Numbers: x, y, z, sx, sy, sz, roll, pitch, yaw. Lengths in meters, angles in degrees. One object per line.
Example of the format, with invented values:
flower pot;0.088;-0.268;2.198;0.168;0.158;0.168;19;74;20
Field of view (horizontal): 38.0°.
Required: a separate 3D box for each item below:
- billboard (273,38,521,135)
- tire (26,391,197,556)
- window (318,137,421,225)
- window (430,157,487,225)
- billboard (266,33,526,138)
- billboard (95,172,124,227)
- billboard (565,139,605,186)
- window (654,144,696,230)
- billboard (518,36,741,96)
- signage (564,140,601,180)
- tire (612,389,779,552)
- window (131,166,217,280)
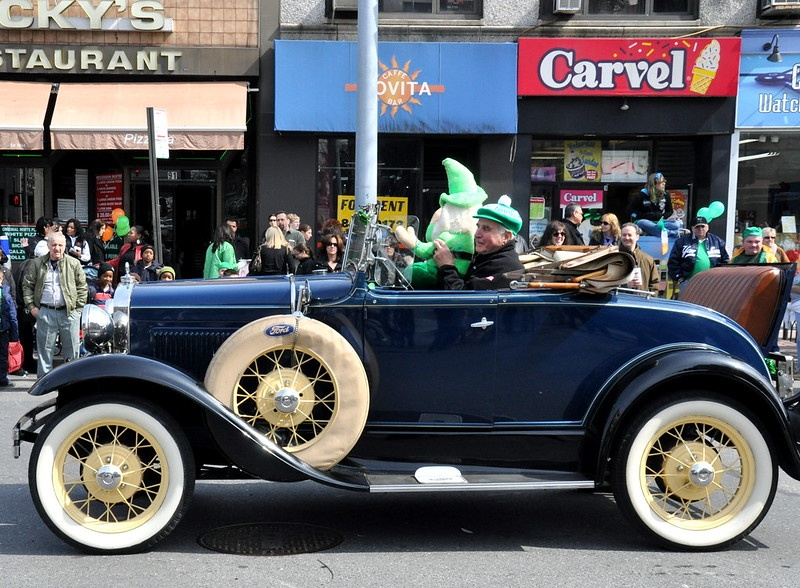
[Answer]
billboard;-0.081;-3.408;20.072;4.049;1.522;1.284;1;0;7
tire;-2.634;1.630;10.657;1.439;1.480;0.399;-1;3;-3
window;-0.530;-1.677;20.093;1.755;1.916;0.079;1;32;4
window;0.533;-1.024;11.994;0.405;0.677;0.455;-7;-17;28
billboard;-0.037;-3.447;19.390;4.867;1.429;1.772;-2;7;-6
billboard;-5.288;-1.735;20.988;0.485;0.887;0.046;-4;18;-36
billboard;3.150;-2.338;20.332;0.752;0.764;0.076;0;3;-4
window;4.563;-2.003;20.506;0.743;1.475;0.800;-5;6;-35
billboard;3.869;-3.741;19.892;4.153;0.986;0.533;9;2;44
signage;3.107;-2.365;20.327;0.654;0.661;0.068;0;4;-4
tire;2.687;1.608;10.824;1.480;1.522;0.348;0;4;-4
window;-4.131;-1.272;21.092;1.520;2.175;0.062;-1;-20;-12
